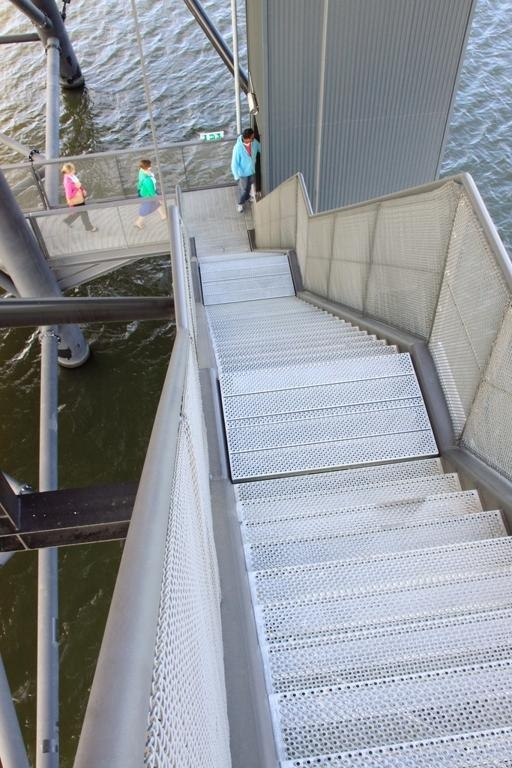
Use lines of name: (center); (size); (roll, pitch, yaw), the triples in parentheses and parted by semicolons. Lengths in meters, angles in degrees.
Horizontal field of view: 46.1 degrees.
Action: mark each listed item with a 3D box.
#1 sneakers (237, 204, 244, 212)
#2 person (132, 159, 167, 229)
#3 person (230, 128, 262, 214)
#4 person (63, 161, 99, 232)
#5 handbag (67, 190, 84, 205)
sneakers: (-0.266, -3.057, 10.499); (0.060, 0.067, 0.171); (-3, 70, -5)
person: (-1.592, -2.753, 8.739); (0.449, 0.938, 0.372); (-22, 42, -22)
person: (-0.099, -3.284, 9.174); (0.641, 1.284, 0.287); (-35, 62, -20)
person: (-2.463, -2.641, 8.439); (0.404, 0.850, 0.280); (-9, 71, -6)
handbag: (-2.518, -2.574, 8.440); (0.150, 0.192, 0.213); (1, 79, 4)
